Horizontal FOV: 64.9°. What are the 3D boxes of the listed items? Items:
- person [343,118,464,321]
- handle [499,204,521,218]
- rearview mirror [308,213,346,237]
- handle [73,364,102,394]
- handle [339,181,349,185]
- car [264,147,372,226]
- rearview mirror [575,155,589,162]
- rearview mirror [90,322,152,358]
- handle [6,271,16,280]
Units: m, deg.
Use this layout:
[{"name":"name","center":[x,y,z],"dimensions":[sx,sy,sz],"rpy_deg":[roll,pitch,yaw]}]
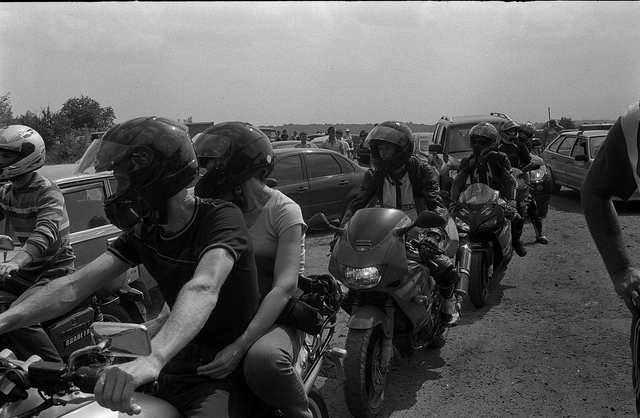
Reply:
[{"name":"person","center":[0.757,-0.066,5.468],"dimensions":[0.973,1.502,2.466],"rpy_deg":[-2,3,24]},{"name":"handle","center":[2.683,0.025,7.132],"dimensions":[0.055,0.188,0.135],"rpy_deg":[-30,12,5]},{"name":"rearview mirror","center":[0.071,0.184,4.812],"dimensions":[0.304,0.131,0.190],"rpy_deg":[22,-11,-23]},{"name":"handle","center":[-1.122,0.811,2.423],"dimensions":[0.149,0.159,0.113],"rpy_deg":[-1,-6,0]},{"name":"handle","center":[0.572,-0.615,11.533],"dimensions":[0.291,0.060,0.071],"rpy_deg":[-6,4,-29]},{"name":"car","center":[-0.061,-0.619,11.212],"dimensions":[2.368,1.081,1.256],"rpy_deg":[1,0,-37]},{"name":"rearview mirror","center":[7.292,-1.432,14.027],"dimensions":[0.182,0.187,0.481],"rpy_deg":[-3,11,-4]},{"name":"rearview mirror","center":[-0.939,0.624,2.388],"dimensions":[0.280,0.180,0.051],"rpy_deg":[0,11,14]},{"name":"handle","center":[-2.711,0.574,4.408],"dimensions":[0.053,0.044,0.174],"rpy_deg":[-36,-2,-35]}]
